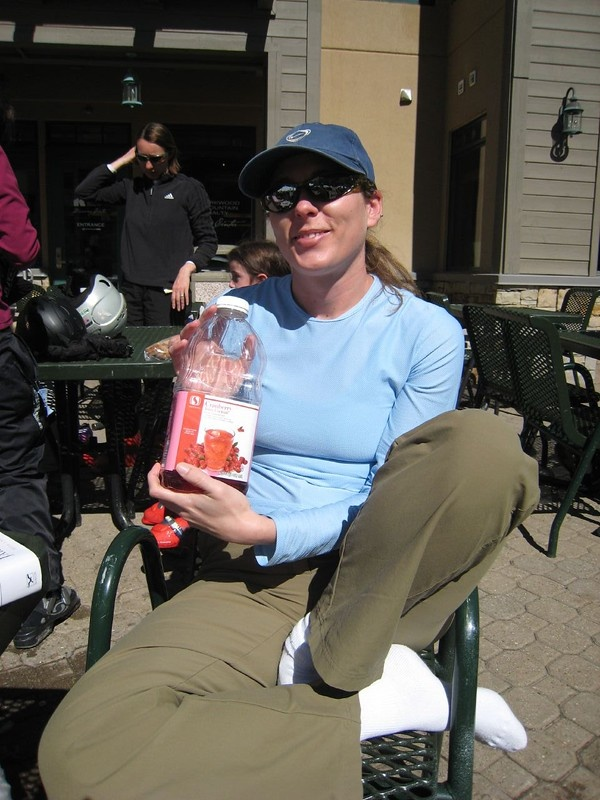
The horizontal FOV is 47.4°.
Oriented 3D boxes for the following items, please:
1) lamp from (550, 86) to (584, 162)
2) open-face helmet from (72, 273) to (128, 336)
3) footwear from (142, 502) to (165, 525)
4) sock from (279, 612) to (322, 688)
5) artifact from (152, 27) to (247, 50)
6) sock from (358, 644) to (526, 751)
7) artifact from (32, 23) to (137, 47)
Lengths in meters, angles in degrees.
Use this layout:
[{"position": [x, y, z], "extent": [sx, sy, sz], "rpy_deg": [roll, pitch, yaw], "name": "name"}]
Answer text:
[{"position": [3.408, -3.421, 8.481], "extent": [0.476, 0.893, 0.321], "rpy_deg": [-5, 14, -23], "name": "lamp"}, {"position": [-1.061, -0.477, 3.661], "extent": [0.262, 0.271, 0.324], "rpy_deg": [-27, -2, -25], "name": "open-face helmet"}, {"position": [-0.795, 0.612, 3.707], "extent": [0.130, 0.096, 0.242], "rpy_deg": [-3, -8, -7], "name": "footwear"}, {"position": [-0.006, 0.501, 1.363], "extent": [0.097, 0.119, 0.116], "rpy_deg": [2, 57, 11], "name": "sock"}, {"position": [-1.148, -4.160, 7.872], "extent": [1.083, 0.204, 0.109], "rpy_deg": [0, 13, -6], "name": "artifact"}, {"position": [0.229, 0.615, 1.322], "extent": [0.378, 0.093, 0.187], "rpy_deg": [17, 1, -13], "name": "sock"}, {"position": [-2.465, -4.185, 7.814], "extent": [1.143, 0.205, 0.067], "rpy_deg": [0, 13, -2], "name": "artifact"}]
